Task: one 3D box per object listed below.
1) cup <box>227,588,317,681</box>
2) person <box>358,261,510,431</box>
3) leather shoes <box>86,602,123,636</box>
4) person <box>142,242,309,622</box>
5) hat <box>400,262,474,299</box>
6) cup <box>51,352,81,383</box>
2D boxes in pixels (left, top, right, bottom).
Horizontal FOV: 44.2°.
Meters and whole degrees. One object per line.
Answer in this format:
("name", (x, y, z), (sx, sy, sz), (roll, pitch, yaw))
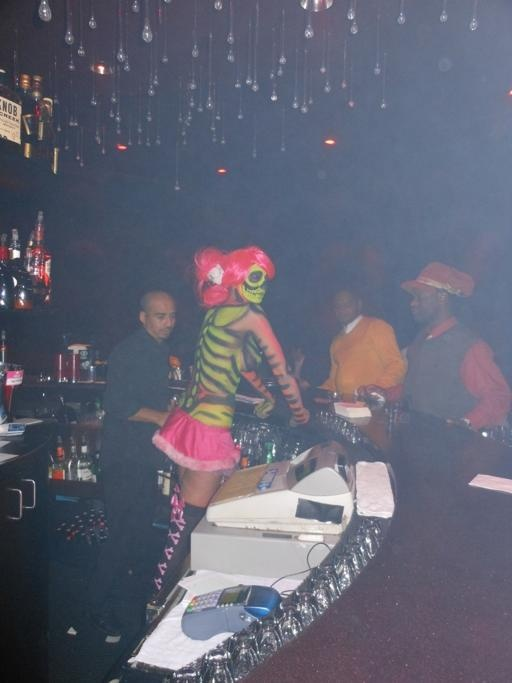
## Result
("cup", (0.032, 0.531, 1.152), (0.206, 0.076, 0.085), (-3, 3, -43))
("person", (0.949, -0.001, 3.232), (0.501, 0.815, 0.919), (-1, 2, 6))
("leather shoes", (-0.691, 1.277, 2.886), (0.168, 0.114, 0.050), (0, 3, 20))
("person", (-0.076, 0.340, 2.361), (0.614, 1.422, 1.187), (-1, 2, -10))
("hat", (0.979, -0.309, 3.346), (0.277, 0.136, 0.204), (16, 14, 32))
("cup", (-1.255, 0.183, 4.208), (0.162, 0.257, 0.175), (-2, -2, 0))
